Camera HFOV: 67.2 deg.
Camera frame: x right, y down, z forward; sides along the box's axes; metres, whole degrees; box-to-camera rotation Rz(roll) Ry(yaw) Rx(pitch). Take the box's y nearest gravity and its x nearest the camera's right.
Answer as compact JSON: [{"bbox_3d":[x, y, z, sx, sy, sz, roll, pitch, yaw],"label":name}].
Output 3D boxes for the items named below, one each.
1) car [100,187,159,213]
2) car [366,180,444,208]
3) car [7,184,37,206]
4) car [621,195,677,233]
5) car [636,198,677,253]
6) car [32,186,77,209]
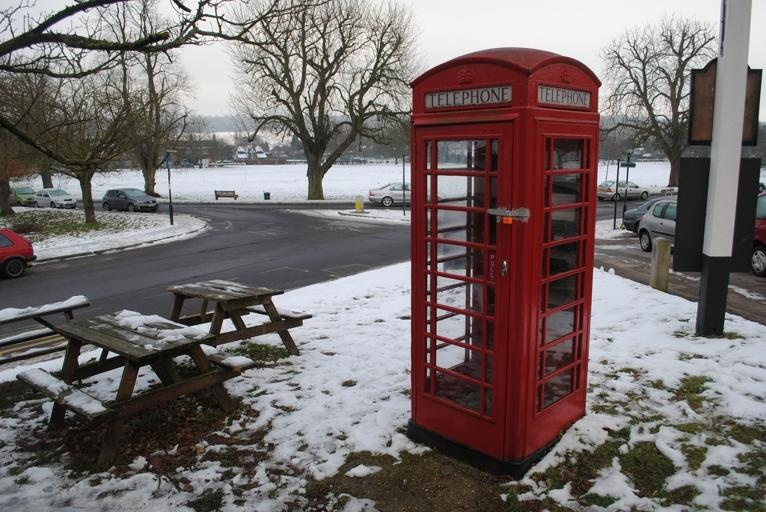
[{"bbox_3d":[-15.699,-3.467,35.584,4.073,1.260,1.213,6,14,33],"label":"car"},{"bbox_3d":[1.406,-3.731,36.606,4.779,1.600,1.901,-4,13,-7],"label":"car"},{"bbox_3d":[-26.359,-4.526,42.086,2.726,1.296,1.441,6,10,43],"label":"car"},{"bbox_3d":[9.725,-1.550,20.477,2.671,0.920,1.154,-8,11,-5],"label":"car"},{"bbox_3d":[8.235,-0.895,17.142,0.768,1.641,1.580,1,12,12],"label":"car"},{"bbox_3d":[-22.479,-4.041,39.499,3.463,1.189,1.519,7,10,43],"label":"car"}]
